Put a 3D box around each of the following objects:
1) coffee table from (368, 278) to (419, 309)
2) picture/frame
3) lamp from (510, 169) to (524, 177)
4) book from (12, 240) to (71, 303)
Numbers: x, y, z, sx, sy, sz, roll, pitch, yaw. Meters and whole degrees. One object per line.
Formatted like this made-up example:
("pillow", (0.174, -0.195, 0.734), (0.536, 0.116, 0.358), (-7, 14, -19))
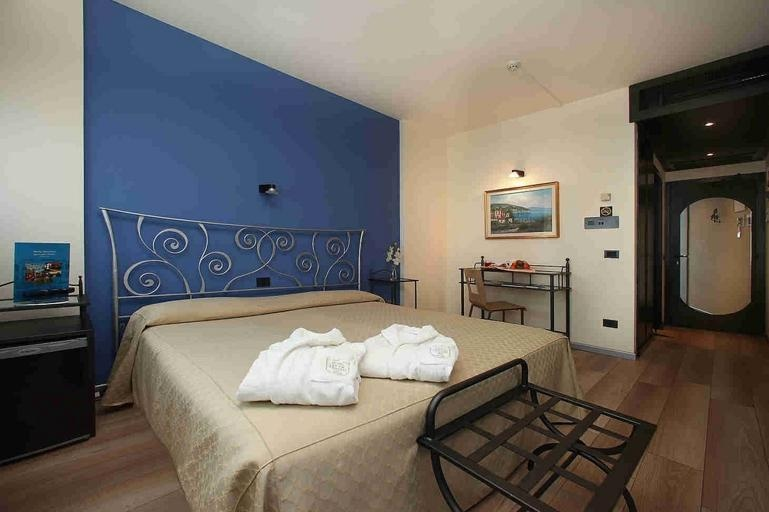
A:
("coffee table", (0.133, 0.373, 5.966), (0.411, 0.514, 0.526), (2, -2, -39))
("picture/frame", (1.682, -0.543, 5.738), (0.736, 0.534, 0.057), (-1, -2, 35))
("lamp", (1.598, -0.993, 5.700), (0.196, 0.095, 0.088), (-4, 2, -19))
("book", (-2.630, 0.131, 3.671), (0.467, 0.638, 0.067), (1, -1, -30))
